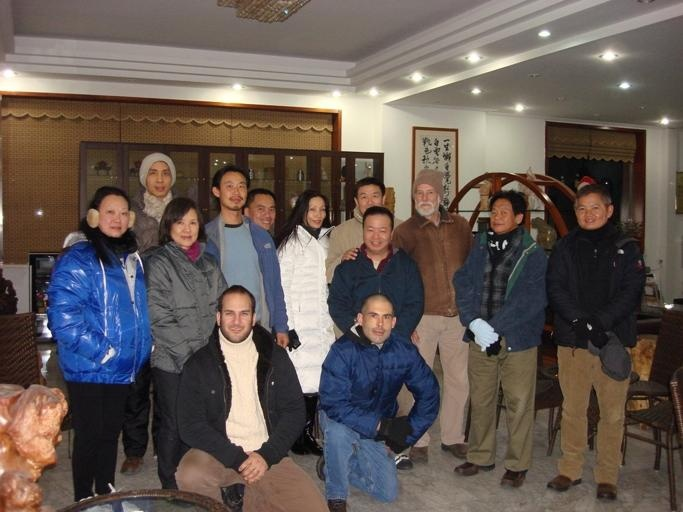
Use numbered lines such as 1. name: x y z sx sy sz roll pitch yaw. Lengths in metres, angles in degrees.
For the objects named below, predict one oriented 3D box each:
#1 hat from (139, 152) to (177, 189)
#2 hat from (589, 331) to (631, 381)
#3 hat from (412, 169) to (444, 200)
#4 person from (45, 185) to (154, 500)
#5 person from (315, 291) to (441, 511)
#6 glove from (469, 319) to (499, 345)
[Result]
1. hat: -1.505 -0.714 4.489 0.314 0.301 0.318 -6 14 -29
2. hat: 1.692 0.600 3.413 0.242 0.302 0.102 -19 -8 18
3. hat: 0.677 -0.546 4.154 0.253 0.198 0.185 -2 -1 -2
4. person: -1.326 0.474 2.988 0.503 1.698 0.312 -3 6 -28
5. person: 0.222 0.889 3.345 0.735 1.319 0.332 -2 6 -20
6. glove: 0.952 0.507 3.641 0.058 0.131 0.174 35 19 -39
